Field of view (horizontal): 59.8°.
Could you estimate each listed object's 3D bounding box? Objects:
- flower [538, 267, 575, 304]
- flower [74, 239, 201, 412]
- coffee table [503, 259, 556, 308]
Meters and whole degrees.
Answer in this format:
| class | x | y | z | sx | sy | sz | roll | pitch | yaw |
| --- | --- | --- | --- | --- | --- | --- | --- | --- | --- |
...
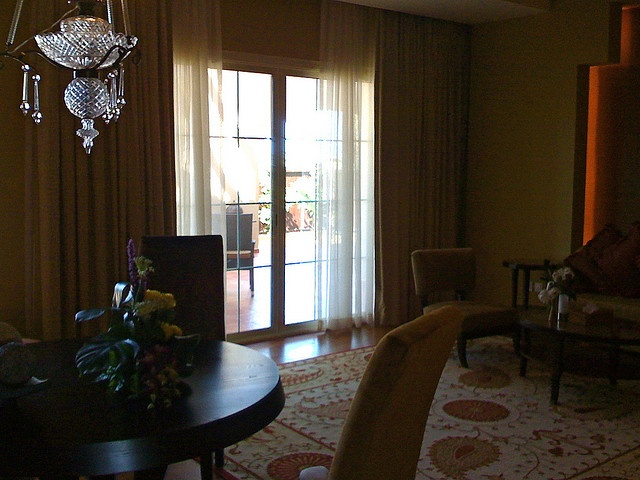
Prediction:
| class | x | y | z | sx | sy | sz | roll | pitch | yaw |
| --- | --- | --- | --- | --- | --- | --- | --- | --- | --- |
| flower | 1.924 | 0.389 | 4.528 | 0.206 | 0.320 | 0.242 | -9 | 12 | -42 |
| flower | -0.756 | 0.468 | 2.717 | 0.646 | 0.872 | 0.676 | -7 | -21 | 0 |
| coffee table | 2.100 | 0.387 | 5.810 | 0.574 | 0.592 | 0.536 | 0 | -1 | 0 |
